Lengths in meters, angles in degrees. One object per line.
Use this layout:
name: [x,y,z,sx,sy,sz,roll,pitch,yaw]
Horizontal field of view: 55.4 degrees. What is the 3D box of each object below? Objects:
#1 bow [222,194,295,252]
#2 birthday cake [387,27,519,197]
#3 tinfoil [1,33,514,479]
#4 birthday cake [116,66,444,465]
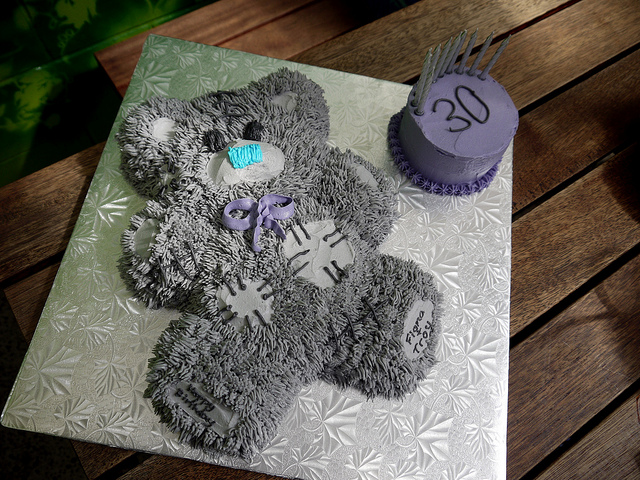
bow: [-0.150,-0.060,1.471,0.173,0.055,0.138,-10,56,-16]
birthday cake: [0.337,-0.305,1.546,0.372,0.227,0.458,14,64,10]
tinfoil: [-0.114,0.070,1.485,1.166,0.048,0.990,8,70,-3]
birthday cake: [-0.158,0.007,1.570,0.833,0.245,0.932,-24,85,-28]
